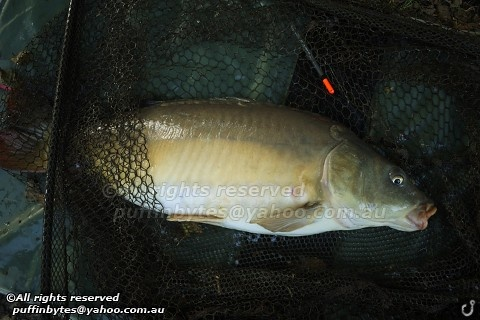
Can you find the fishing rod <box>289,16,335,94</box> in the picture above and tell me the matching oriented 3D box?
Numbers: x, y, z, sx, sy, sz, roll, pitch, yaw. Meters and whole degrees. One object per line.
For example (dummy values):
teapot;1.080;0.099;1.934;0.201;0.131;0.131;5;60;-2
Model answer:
fishing rod;0.545;-0.793;3.721;0.061;0.063;0.592;-26;98;16
